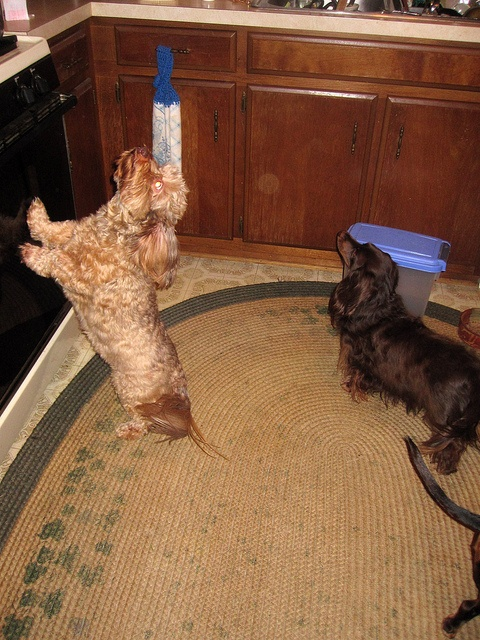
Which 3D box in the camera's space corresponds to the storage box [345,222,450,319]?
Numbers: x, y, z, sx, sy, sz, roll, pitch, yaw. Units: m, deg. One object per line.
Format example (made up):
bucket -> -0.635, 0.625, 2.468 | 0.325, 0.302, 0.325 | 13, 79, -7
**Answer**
storage box -> 0.794, -0.314, 2.500 | 0.607, 0.534, 0.399 | 11, 44, 17
